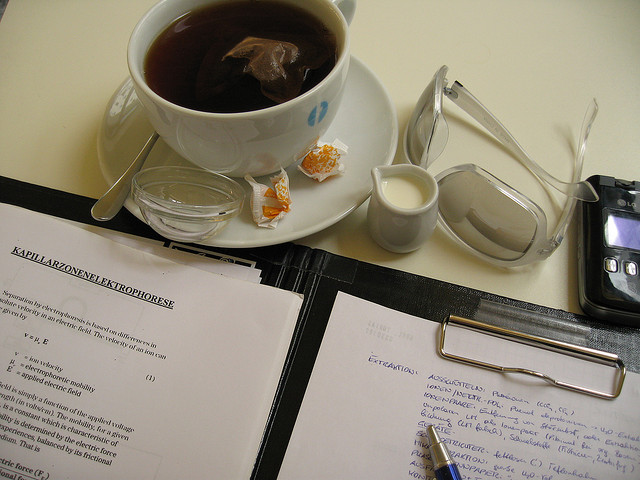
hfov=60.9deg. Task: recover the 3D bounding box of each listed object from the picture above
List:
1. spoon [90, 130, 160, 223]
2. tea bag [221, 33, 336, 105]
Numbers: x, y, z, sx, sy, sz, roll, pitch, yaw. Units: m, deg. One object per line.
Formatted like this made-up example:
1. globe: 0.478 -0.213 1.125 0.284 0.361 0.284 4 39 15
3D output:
1. spoon: -0.248 -0.082 0.704 0.015 0.014 0.133 24 70 -10
2. tea bag: -0.052 -0.214 0.670 0.141 0.066 0.069 1 30 -2
